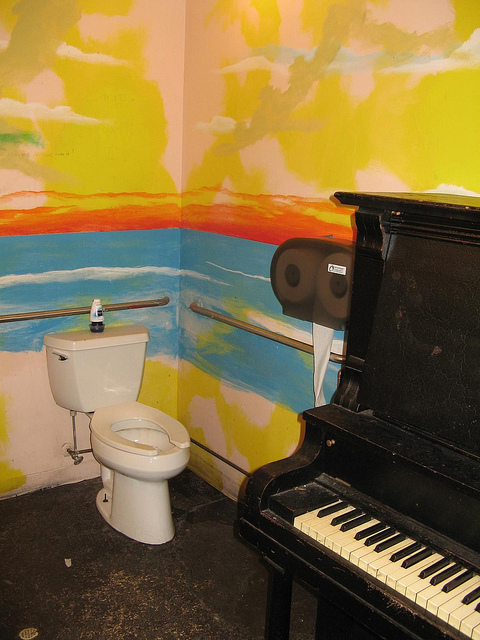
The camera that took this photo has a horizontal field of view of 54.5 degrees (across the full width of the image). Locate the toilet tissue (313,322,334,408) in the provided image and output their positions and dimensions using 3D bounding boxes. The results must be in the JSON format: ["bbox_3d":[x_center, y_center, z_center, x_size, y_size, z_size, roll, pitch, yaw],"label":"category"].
[{"bbox_3d":[0.301,0.201,1.764,0.044,0.200,0.064,10,17,8],"label":"toilet tissue"}]

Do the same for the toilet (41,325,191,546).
[{"bbox_3d":[-0.514,0.505,2.112,0.496,0.824,0.741,-10,19,-44],"label":"toilet"}]

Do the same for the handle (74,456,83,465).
[{"bbox_3d":[-0.800,0.694,2.302,0.038,0.039,0.041,-3,10,-36],"label":"handle"}]

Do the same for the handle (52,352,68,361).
[{"bbox_3d":[-0.794,0.161,2.048,0.086,0.037,0.019,10,11,32],"label":"handle"}]

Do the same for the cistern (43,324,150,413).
[{"bbox_3d":[-0.678,0.224,2.247,0.277,0.336,0.489,10,12,42],"label":"cistern"}]
